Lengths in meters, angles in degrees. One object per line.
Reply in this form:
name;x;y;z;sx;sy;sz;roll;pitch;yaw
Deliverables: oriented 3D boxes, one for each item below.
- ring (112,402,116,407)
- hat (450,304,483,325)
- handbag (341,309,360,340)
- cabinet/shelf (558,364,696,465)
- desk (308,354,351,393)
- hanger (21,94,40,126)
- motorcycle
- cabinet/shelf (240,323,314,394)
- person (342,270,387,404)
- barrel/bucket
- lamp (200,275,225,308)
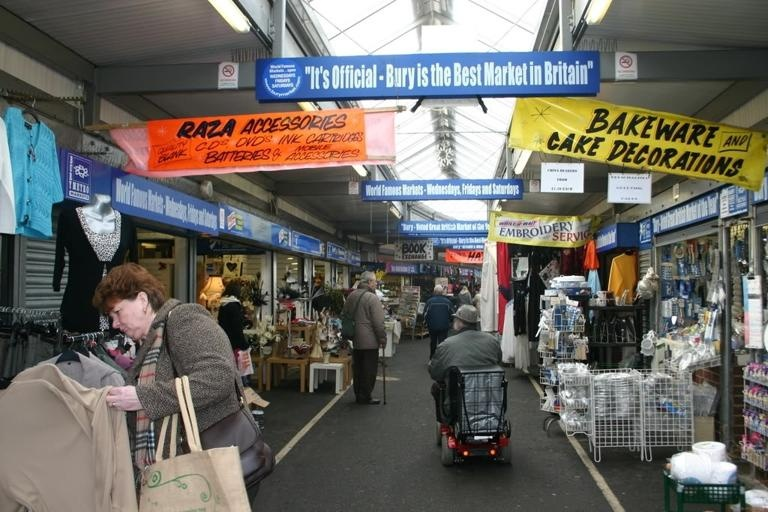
ring;-1.818;1.009;4.513;0.022;0.034;0.011;3;0;-11
hat;1.056;0.749;8.446;0.231;0.164;0.317;7;-1;-5
handbag;-0.554;1.181;11.355;0.431;0.599;0.243;-2;-17;10
cabinet/shelf;2.992;1.940;8.321;1.368;0.976;1.008;0;-4;7
desk;-0.995;2.114;12.115;0.968;0.689;0.545;2;3;20
hanger;-3.454;-1.402;6.515;0.637;0.312;0.070;10;3;41
motorcycle;1.061;1.876;7.735;0.706;0.912;1.182;0;-9;-1
cabinet/shelf;-1.788;1.879;12.417;1.041;1.678;1.179;0;-8;7
person;-0.306;1.507;11.221;0.615;1.822;0.797;-1;2;-22
barrel/bucket;2.985;2.000;6.252;0.400;0.202;0.458;-3;-4;15
lamp;-3.473;0.762;13.560;0.544;0.750;0.592;2;-2;-34
